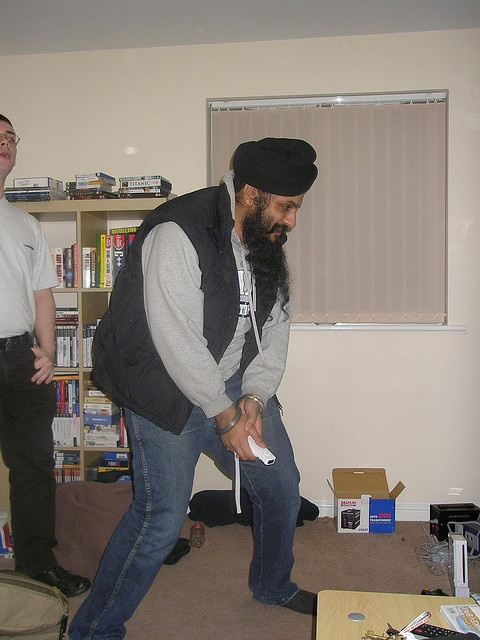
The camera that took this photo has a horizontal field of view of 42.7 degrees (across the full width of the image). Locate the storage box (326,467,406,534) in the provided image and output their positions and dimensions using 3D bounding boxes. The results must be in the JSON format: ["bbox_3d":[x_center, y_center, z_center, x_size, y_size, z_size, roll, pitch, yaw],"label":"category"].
[{"bbox_3d":[0.637,0.888,3.074,0.330,0.251,0.312,1,4,-2],"label":"storage box"}]

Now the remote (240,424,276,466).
[{"bbox_3d":[0.053,0.351,1.724,0.051,0.023,0.095,-20,52,-24],"label":"remote"}]

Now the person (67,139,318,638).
[{"bbox_3d":[-0.134,0.167,1.829,0.723,1.435,0.376,0,3,-16],"label":"person"}]

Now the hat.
[{"bbox_3d":[0.098,-0.470,1.821,0.179,0.100,0.213,-28,48,-32],"label":"hat"}]

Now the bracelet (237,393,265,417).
[{"bbox_3d":[0.034,0.250,1.839,0.066,0.027,0.062,38,-10,11],"label":"bracelet"}]

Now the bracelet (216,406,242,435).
[{"bbox_3d":[-0.028,0.282,1.727,0.020,0.075,0.076,17,14,1],"label":"bracelet"}]
